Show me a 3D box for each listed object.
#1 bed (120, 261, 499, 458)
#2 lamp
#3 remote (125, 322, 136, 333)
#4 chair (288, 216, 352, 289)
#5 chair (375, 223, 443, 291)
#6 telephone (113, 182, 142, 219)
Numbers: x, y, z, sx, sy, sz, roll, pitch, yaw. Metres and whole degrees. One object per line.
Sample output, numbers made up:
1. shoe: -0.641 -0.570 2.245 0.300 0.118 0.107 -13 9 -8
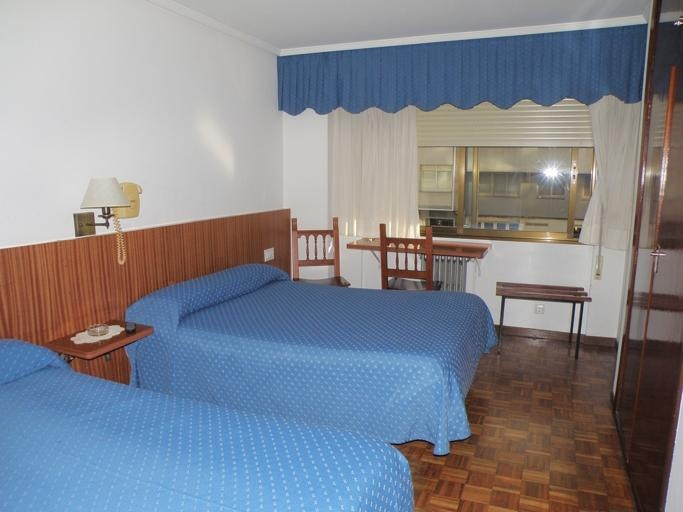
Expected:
1. bed: -0.169 0.701 3.591 1.938 0.599 1.493 4 14 23
2. lamp: -1.700 -0.330 3.446 0.427 0.458 0.356 0 4 24
3. remote: -1.505 0.514 3.520 0.065 0.048 0.069 3 0 -4
4. chair: -0.292 -0.037 5.701 0.709 1.367 0.733 0 0 -11
5. chair: 0.733 0.014 5.350 0.485 0.992 0.519 2 30 14
6. telephone: -1.616 -0.420 3.710 0.106 0.356 0.301 2 1 15
